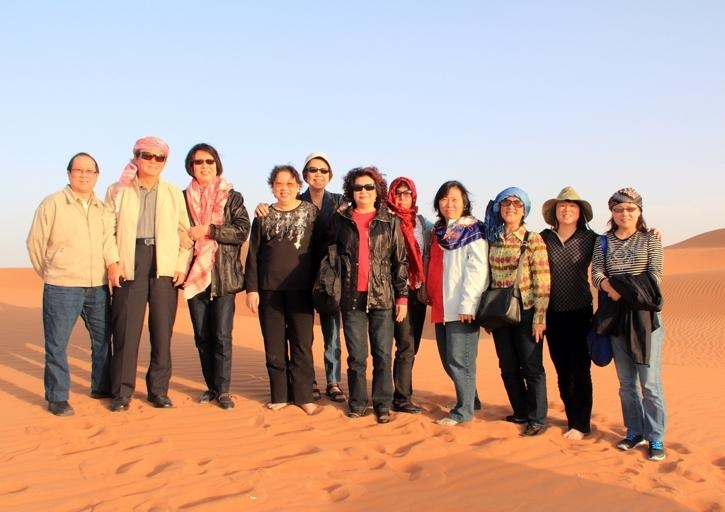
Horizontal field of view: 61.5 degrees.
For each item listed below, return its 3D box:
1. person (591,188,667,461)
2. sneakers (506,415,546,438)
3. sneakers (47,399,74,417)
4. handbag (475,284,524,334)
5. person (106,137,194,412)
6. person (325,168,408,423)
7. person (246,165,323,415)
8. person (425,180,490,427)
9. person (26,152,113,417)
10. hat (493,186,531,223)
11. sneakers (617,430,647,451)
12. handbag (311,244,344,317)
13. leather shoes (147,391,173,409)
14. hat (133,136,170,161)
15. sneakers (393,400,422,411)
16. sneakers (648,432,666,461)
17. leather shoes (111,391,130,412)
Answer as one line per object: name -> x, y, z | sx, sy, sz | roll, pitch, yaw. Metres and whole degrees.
person -> 3.084, 0.742, 6.970 | 1.004, 3.001, 0.673 | 7, 11, 28
sneakers -> 1.981, 2.068, 7.494 | 0.174, 0.204, 0.498 | -20, 20, -24
sneakers -> -3.726, 1.880, 7.531 | 0.402, 0.152, 0.138 | -5, -9, 43
handbag -> 1.617, 0.561, 7.263 | 0.268, 0.510, 0.562 | 24, -23, -28
person -> -2.738, 0.261, 7.835 | 1.024, 3.513, 0.817 | -2, 10, -21
person -> 0.093, 0.499, 7.617 | 0.925, 3.168, 0.707 | 3, 10, 9
person -> -0.995, 0.424, 7.794 | 0.955, 3.089, 0.589 | 2, 10, 3
person -> 1.175, 0.573, 7.598 | 0.606, 2.959, 0.843 | -4, 11, -29
person -> -3.619, 0.346, 7.677 | 0.975, 3.240, 0.753 | -4, 11, -30
hat -> 1.823, -0.573, 7.190 | 0.367, 0.396, 0.474 | 4, 7, 35
sneakers -> 3.117, 2.137, 7.064 | 0.422, 0.158, 0.144 | -1, 2, -24
handbag -> -0.396, 0.285, 7.500 | 0.328, 0.833, 0.386 | 6, 11, 25
leather shoes -> -2.609, 1.861, 7.902 | 0.382, 0.155, 0.149 | -3, -5, 39
hat -> -2.631, -1.352, 7.603 | 0.379, 0.260, 0.561 | -2, 10, -20
sneakers -> 0.581, 1.977, 8.023 | 0.409, 0.155, 0.135 | -2, 0, 16
sneakers -> 3.306, 2.149, 6.829 | 0.190, 0.236, 0.244 | 6, 11, 24
leather shoes -> -3.061, 1.843, 7.716 | 0.218, 0.176, 0.254 | -2, 10, -20
